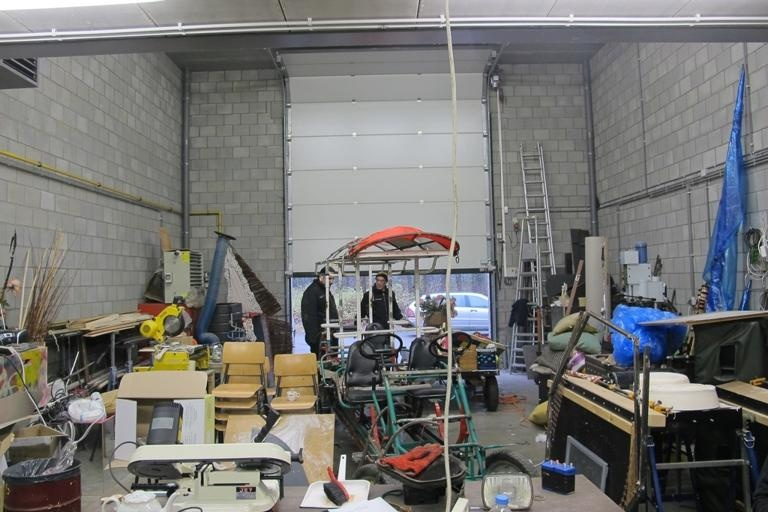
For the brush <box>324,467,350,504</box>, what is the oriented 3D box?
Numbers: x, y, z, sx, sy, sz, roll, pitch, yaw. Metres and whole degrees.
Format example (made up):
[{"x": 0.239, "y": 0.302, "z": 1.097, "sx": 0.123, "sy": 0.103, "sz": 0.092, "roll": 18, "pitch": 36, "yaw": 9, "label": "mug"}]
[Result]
[{"x": -0.297, "y": 1.514, "z": 4.013, "sx": 0.055, "sy": 0.148, "sz": 0.099, "roll": -29, "pitch": -14, "yaw": -2, "label": "brush"}]

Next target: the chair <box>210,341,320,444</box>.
[{"x": -1.354, "y": 1.526, "z": 7.145, "sx": 1.158, "sy": 1.047, "sz": 0.639, "roll": -1, "pitch": -3, "yaw": -7, "label": "chair"}]

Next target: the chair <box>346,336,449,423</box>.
[{"x": 0.083, "y": 1.382, "z": 7.020, "sx": 0.758, "sy": 0.685, "sz": 1.126, "roll": 1, "pitch": -12, "yaw": -11, "label": "chair"}]

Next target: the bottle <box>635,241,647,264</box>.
[{"x": 4.346, "y": -0.077, "z": 10.342, "sx": 0.175, "sy": 0.359, "sz": 0.300, "roll": -3, "pitch": -3, "yaw": 23, "label": "bottle"}]

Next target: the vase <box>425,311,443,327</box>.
[{"x": 0.855, "y": 1.042, "z": 10.253, "sx": 0.277, "sy": 0.189, "sz": 0.453, "roll": -1, "pitch": -1, "yaw": 6, "label": "vase"}]

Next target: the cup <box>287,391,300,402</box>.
[{"x": -1.031, "y": 1.606, "z": 7.059, "sx": 0.107, "sy": 0.087, "sz": 0.089, "roll": 1, "pitch": -8, "yaw": 1, "label": "cup"}]

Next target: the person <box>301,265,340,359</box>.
[{"x": -0.989, "y": 0.881, "z": 9.653, "sx": 0.591, "sy": 1.423, "sz": 1.793, "roll": -1, "pitch": -3, "yaw": -7, "label": "person"}]

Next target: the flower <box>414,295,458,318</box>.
[{"x": 0.963, "y": 0.877, "z": 11.527, "sx": 0.501, "sy": 0.374, "sz": 0.608, "roll": 0, "pitch": -5, "yaw": -8, "label": "flower"}]
